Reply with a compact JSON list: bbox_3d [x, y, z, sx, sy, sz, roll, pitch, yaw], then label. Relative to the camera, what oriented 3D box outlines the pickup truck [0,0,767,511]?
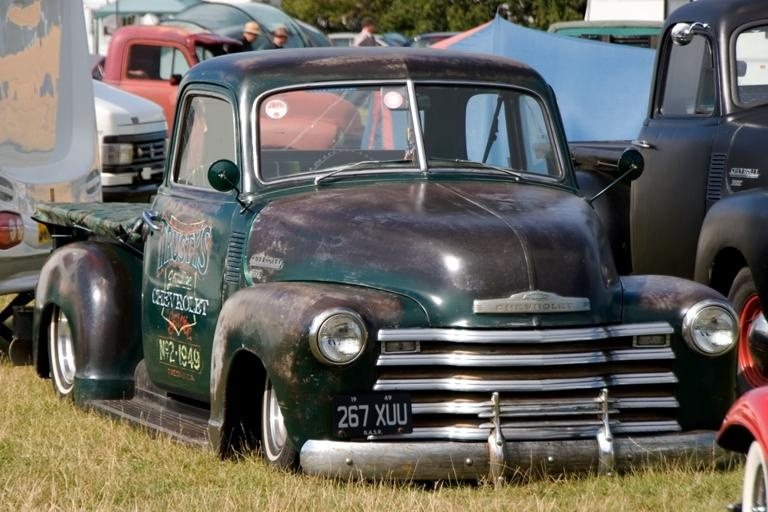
[{"bbox_3d":[-0.458,0.068,7.398,2.635,1.901,4.520,-2,6,-27],"label":"pickup truck"}]
